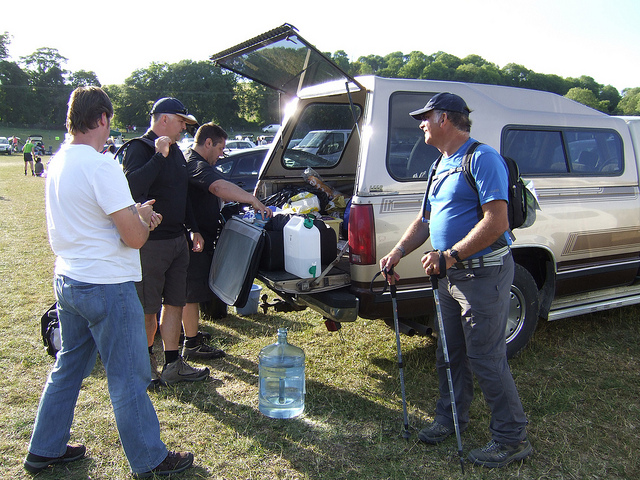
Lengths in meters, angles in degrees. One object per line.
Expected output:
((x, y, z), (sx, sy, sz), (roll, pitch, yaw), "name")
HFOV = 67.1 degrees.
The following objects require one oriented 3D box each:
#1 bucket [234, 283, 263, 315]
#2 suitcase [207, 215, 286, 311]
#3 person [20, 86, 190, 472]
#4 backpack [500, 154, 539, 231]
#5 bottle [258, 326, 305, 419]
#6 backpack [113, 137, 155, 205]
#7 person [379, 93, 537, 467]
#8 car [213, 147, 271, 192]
((-0.872, 0.799, 6.247), (0.375, 0.300, 0.393), (1, 14, 0), "bucket")
((-0.771, 0.204, 4.837), (0.796, 0.788, 0.439), (8, 8, 41), "suitcase")
((-1.532, 0.338, 3.422), (0.976, 2.778, 0.397), (4, 6, 18), "person")
((1.455, -0.362, 3.735), (0.372, 0.394, 0.272), (-2, -7, 2), "backpack")
((-0.353, 1.271, 4.402), (0.411, 0.549, 0.423), (2, 6, 0), "bottle")
((-1.671, -0.645, 4.436), (0.321, 0.607, 0.457), (-3, 8, -36), "backpack")
((1.132, 0.291, 3.701), (1.080, 2.787, 0.580), (5, 7, 25), "person")
((-1.722, -1.601, 10.593), (2.108, 0.729, 0.961), (-9, 17, -27), "car")
